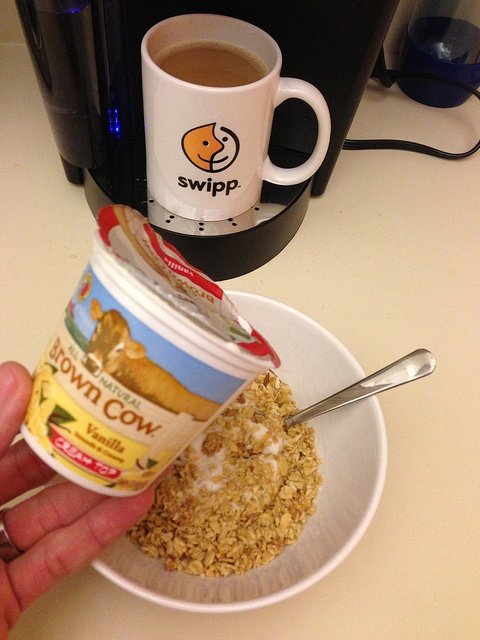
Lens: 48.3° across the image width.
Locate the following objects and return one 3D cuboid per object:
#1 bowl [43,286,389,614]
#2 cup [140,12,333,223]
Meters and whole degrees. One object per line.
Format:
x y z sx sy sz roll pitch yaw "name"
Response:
0.043 0.117 0.462 0.197 0.075 0.223 -2 67 2 "bowl"
-0.011 -0.180 0.481 0.154 0.144 0.122 -16 67 -16 "cup"
